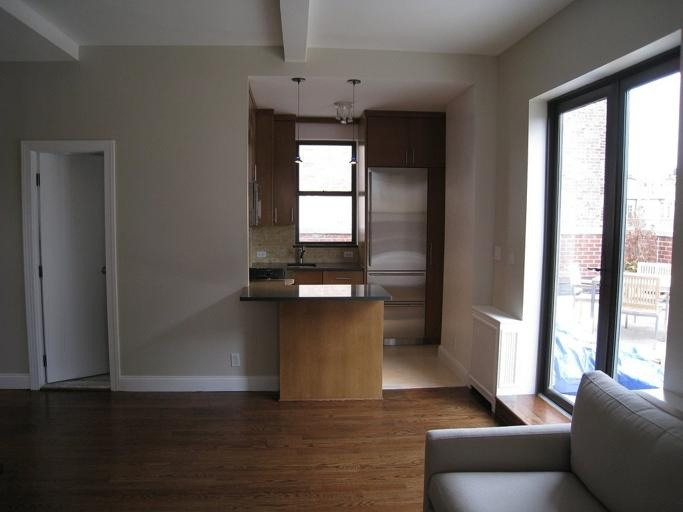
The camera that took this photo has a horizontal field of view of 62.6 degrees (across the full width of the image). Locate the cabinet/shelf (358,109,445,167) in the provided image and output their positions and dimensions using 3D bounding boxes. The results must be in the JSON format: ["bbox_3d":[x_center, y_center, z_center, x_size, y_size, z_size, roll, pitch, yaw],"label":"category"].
[{"bbox_3d":[0.666,-1.221,5.881,0.815,0.566,0.158,-1,13,-9],"label":"cabinet/shelf"}]

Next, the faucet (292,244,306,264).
[{"bbox_3d":[-0.488,-0.027,6.500,0.133,0.191,0.218,0,14,-4],"label":"faucet"}]

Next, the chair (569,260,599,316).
[{"bbox_3d":[1.770,0.248,4.028,0.259,0.421,0.277,0,1,39],"label":"chair"}]
